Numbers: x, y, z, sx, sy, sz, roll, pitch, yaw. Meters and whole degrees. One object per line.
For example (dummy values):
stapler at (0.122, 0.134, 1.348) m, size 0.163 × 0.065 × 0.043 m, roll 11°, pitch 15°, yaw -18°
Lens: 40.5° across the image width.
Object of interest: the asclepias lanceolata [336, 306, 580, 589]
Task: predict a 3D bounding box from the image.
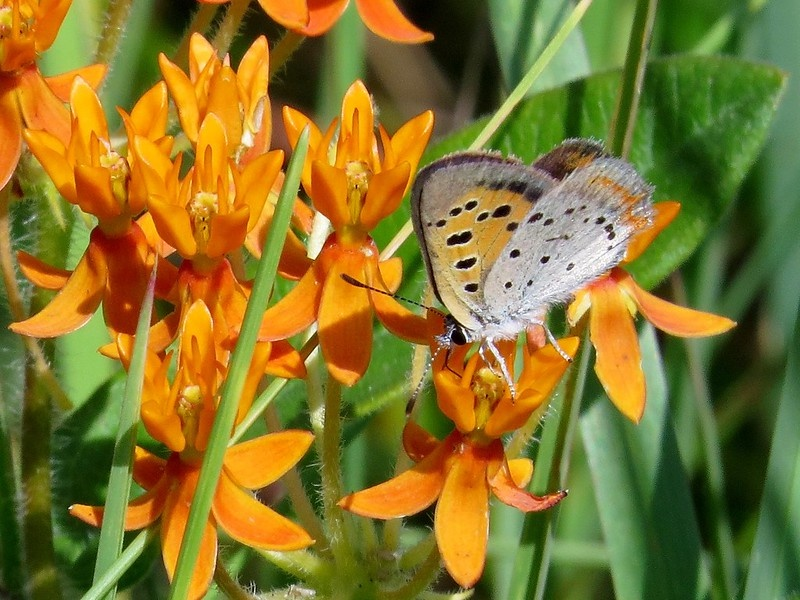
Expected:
asclepias lanceolata at (0.101, 0.198, 1.463) m, size 0.321 × 0.161 × 0.314 m, roll -14°, pitch 40°, yaw 0°

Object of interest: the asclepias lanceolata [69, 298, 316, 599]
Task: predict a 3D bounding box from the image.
asclepias lanceolata at (-0.253, 0.194, 1.342) m, size 0.305 × 0.149 × 0.378 m, roll 6°, pitch 54°, yaw 2°

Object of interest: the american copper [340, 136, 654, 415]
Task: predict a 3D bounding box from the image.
american copper at (0.162, -0.078, 1.667) m, size 0.273 × 0.391 × 0.385 m, roll 40°, pitch 8°, yaw 2°
